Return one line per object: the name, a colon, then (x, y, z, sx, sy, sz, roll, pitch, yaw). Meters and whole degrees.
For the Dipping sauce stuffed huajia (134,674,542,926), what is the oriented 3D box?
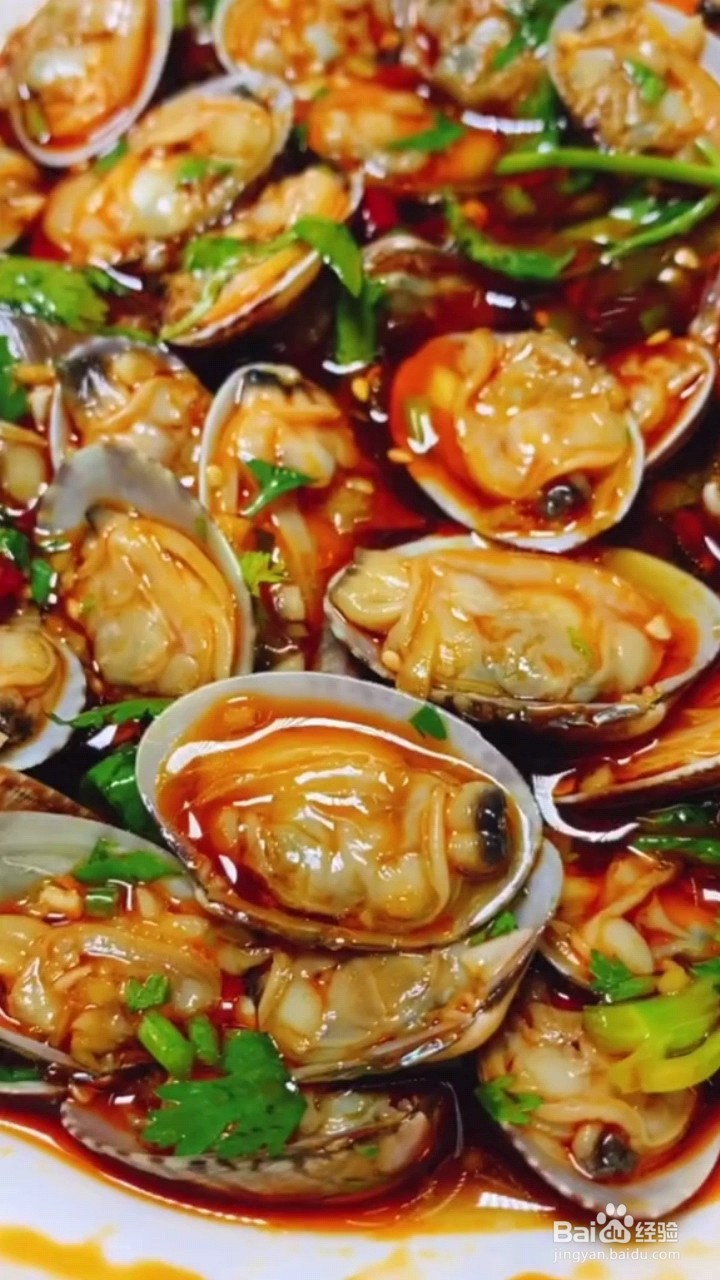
Dipping sauce stuffed huajia: (-0.045, 0.267, 1.795, 0.557, 0.393, 0.174, 5, -18, 3)
